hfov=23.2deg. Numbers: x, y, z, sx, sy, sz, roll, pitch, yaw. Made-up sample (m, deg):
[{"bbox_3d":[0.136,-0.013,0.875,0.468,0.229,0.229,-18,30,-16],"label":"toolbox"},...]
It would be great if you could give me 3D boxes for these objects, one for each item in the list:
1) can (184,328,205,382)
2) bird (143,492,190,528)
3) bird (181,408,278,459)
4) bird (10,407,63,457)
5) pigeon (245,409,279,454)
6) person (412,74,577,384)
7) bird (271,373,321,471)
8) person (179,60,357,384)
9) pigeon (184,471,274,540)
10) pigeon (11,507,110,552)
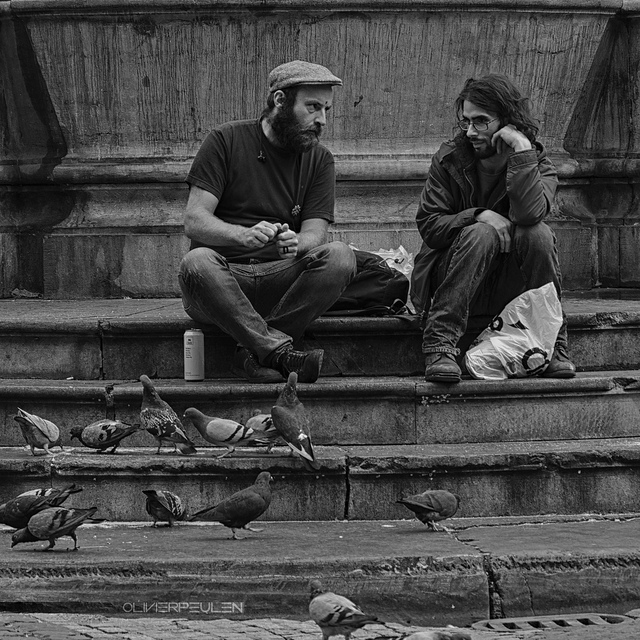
[{"bbox_3d":[-0.698,0.205,8.679,0.095,0.224,0.067,-2,1,-16],"label":"can"},{"bbox_3d":[-0.771,0.939,7.705,0.173,0.140,0.254,-2,1,14],"label":"bird"},{"bbox_3d":[-0.452,0.583,7.985,0.494,0.286,0.168,-2,-11,-7],"label":"bird"},{"bbox_3d":[-1.483,0.589,8.259,0.240,0.200,0.384,-2,1,-9],"label":"bird"},{"bbox_3d":[-0.296,0.566,8.037,0.254,0.212,0.119,-6,-6,32],"label":"pigeon"},{"bbox_3d":[0.915,-0.515,8.691,0.818,1.116,0.738,-2,1,3],"label":"person"},{"bbox_3d":[-0.113,0.527,7.762,0.164,0.344,0.510,2,26,-25],"label":"bird"},{"bbox_3d":[-0.302,-0.553,8.683,0.973,1.319,0.705,-2,1,-5],"label":"person"},{"bbox_3d":[-0.435,0.904,7.560,0.536,0.384,0.198,-3,-6,-6],"label":"pigeon"},{"bbox_3d":[-1.238,0.986,7.381,0.432,0.167,0.249,-2,1,-13],"label":"pigeon"}]
